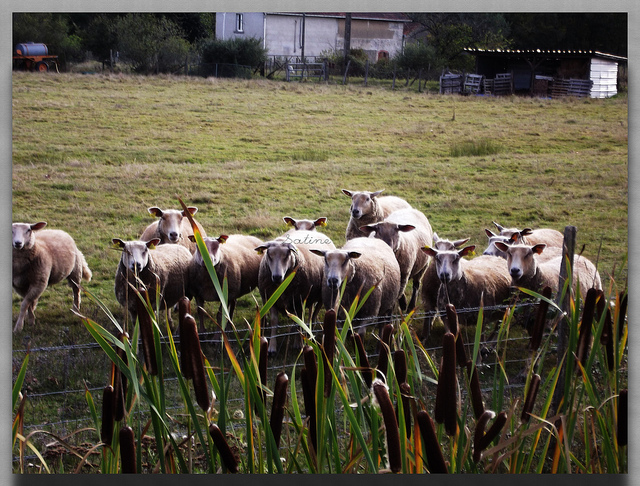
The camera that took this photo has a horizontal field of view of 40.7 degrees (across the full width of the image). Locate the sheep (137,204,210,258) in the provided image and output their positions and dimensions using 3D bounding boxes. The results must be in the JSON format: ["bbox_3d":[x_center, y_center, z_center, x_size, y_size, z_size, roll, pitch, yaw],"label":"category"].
[{"bbox_3d":[-2.741,-0.130,15.310,0.840,1.150,2.007,4,4,-17],"label":"sheep"}]

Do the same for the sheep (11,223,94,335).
[{"bbox_3d":[-4.511,0.488,14.074,0.726,1.762,2.528,0,4,10],"label":"sheep"}]

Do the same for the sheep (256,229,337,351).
[{"bbox_3d":[-0.472,0.720,14.266,0.845,1.799,2.842,1,3,7],"label":"sheep"}]

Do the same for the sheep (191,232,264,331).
[{"bbox_3d":[-1.571,0.665,14.456,0.895,1.779,2.557,7,3,13],"label":"sheep"}]

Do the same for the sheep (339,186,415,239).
[{"bbox_3d":[1.019,-0.390,16.375,0.753,1.318,2.167,7,1,24],"label":"sheep"}]

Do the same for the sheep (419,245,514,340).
[{"bbox_3d":[2.454,0.853,13.476,0.846,1.601,2.372,4,3,38],"label":"sheep"}]
